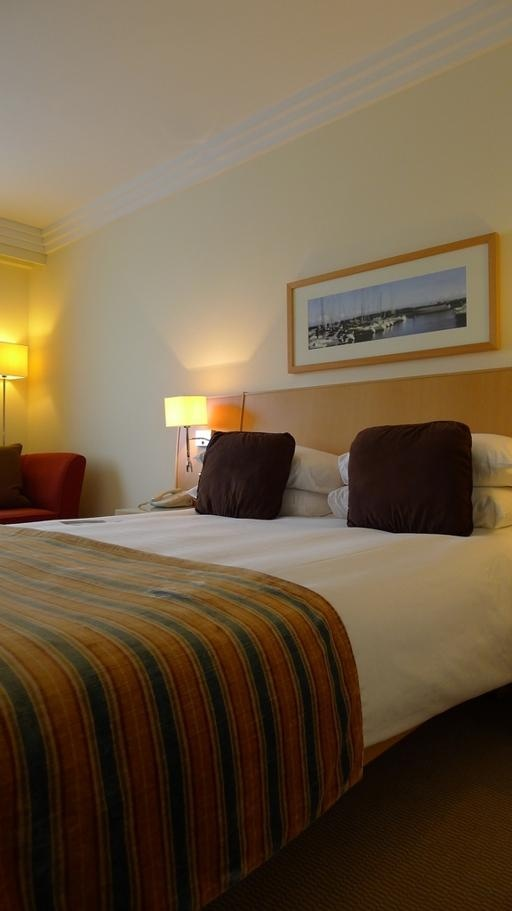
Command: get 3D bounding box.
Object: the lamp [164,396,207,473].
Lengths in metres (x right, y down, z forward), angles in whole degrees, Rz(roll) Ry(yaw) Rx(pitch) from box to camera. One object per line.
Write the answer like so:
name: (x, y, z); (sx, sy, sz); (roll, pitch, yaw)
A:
lamp: (-0.400, -0.121, 3.612); (0.342, 0.449, 0.357); (-4, 5, -20)

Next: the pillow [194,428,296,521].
pillow: (-0.030, 0.065, 2.626); (0.387, 0.392, 0.117); (3, -17, 46)

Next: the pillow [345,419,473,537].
pillow: (0.503, 0.084, 1.992); (0.278, 0.287, 0.099); (-18, -46, 39)
